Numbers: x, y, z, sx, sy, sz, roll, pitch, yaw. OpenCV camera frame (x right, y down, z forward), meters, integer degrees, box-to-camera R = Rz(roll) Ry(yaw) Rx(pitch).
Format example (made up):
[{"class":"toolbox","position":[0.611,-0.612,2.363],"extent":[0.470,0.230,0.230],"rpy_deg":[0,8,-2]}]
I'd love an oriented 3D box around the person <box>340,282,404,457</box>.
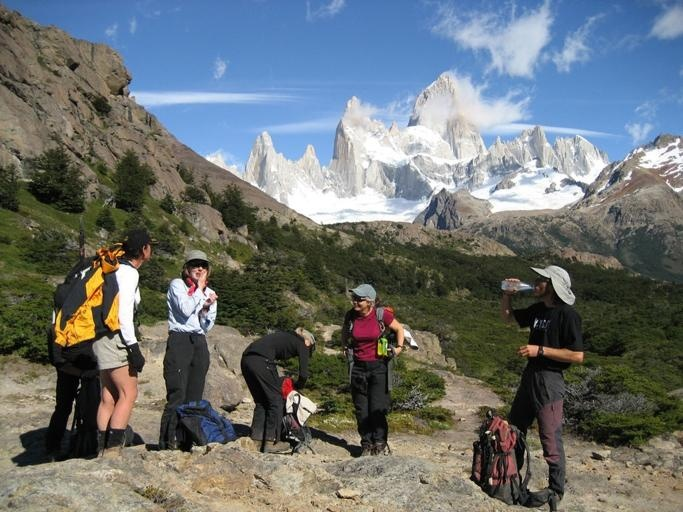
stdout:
[{"class":"person","position":[0.602,2.178,10.263],"extent":[1.187,3.246,0.732],"rpy_deg":[-1,-7,6]}]

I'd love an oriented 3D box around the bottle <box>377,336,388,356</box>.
[{"class":"bottle","position":[0.792,1.707,10.101],"extent":[0.217,0.377,0.135],"rpy_deg":[-1,-7,2]}]

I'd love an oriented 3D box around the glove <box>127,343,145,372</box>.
[{"class":"glove","position":[-3.242,1.608,8.459],"extent":[0.241,0.465,0.273],"rpy_deg":[2,-7,-22]}]

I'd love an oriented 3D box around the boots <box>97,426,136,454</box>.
[{"class":"boots","position":[-3.608,2.941,8.593],"extent":[0.475,0.509,0.439],"rpy_deg":[7,-20,-13]}]

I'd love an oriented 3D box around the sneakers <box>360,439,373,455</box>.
[{"class":"sneakers","position":[0.457,3.685,10.280],"extent":[0.282,0.296,0.277],"rpy_deg":[-6,-22,16]}]

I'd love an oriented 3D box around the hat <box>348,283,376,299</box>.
[{"class":"hat","position":[0.428,0.701,10.260],"extent":[0.380,0.217,0.280],"rpy_deg":[15,-7,-14]}]

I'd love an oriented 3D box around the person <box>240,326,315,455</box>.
[{"class":"person","position":[-1.196,2.429,9.676],"extent":[1.190,2.181,0.412],"rpy_deg":[1,-7,-12]}]

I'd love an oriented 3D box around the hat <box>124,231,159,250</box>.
[{"class":"hat","position":[-3.318,-0.272,8.845],"extent":[0.295,0.264,0.464],"rpy_deg":[8,20,41]}]
